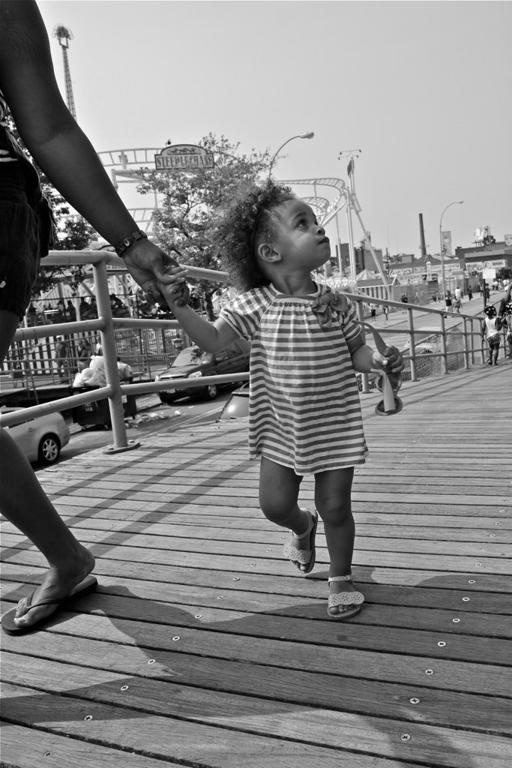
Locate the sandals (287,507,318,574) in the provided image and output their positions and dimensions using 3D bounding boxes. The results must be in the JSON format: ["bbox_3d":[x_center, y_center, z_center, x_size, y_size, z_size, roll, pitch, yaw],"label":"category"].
[{"bbox_3d":[0.121,0.434,1.652,0.083,0.172,0.074,11,8,43],"label":"sandals"}]

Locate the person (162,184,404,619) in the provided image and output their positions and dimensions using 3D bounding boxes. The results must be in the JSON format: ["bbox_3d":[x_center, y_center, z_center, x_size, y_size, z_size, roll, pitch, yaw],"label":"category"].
[{"bbox_3d":[0.072,0.008,1.487,0.484,1.038,0.432,-5,4,-3],"label":"person"}]

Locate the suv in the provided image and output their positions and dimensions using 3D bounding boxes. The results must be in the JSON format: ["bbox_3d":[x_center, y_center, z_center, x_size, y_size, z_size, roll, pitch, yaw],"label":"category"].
[{"bbox_3d":[-1.506,-0.228,16.411,1.445,1.356,2.990,-4,-3,29],"label":"suv"}]
